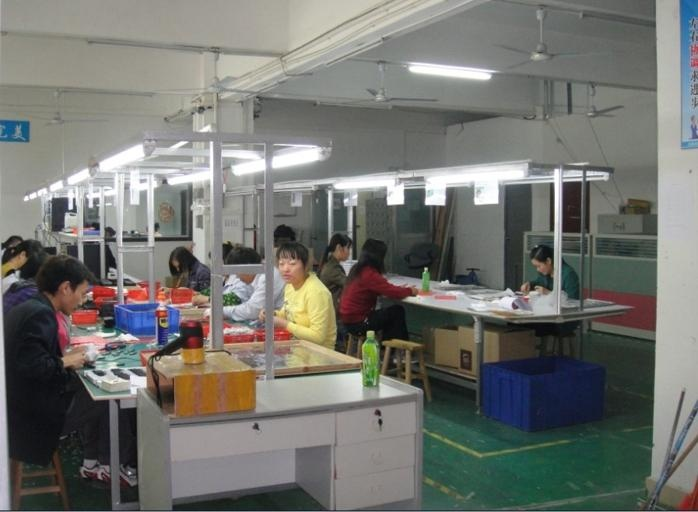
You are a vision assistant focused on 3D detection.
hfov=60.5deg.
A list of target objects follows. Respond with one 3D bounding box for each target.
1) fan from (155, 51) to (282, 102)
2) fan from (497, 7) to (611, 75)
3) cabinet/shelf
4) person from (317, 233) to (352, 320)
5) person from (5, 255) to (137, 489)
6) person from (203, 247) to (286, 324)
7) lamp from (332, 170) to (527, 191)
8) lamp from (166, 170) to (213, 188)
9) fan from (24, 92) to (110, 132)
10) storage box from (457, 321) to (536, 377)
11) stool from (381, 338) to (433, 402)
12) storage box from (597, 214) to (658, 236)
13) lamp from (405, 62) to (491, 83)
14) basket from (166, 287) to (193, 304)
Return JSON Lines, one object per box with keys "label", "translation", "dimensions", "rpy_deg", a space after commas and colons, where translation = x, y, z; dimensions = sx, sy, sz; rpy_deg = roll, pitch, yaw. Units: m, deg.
{"label": "fan", "translation": [-1.626, -2.190, 7.350], "dimensions": [0.840, 0.323, 0.879], "rpy_deg": [-8, 35, -33]}
{"label": "fan", "translation": [2.230, -2.353, 7.034], "dimensions": [1.134, 0.496, 1.162], "rpy_deg": [7, 10, 31]}
{"label": "cabinet/shelf", "translation": [-0.450, 1.228, 3.679], "dimensions": [1.569, 0.984, 1.015], "rpy_deg": [-2, 8, -20]}
{"label": "person", "translation": [-0.114, 0.362, 7.377], "dimensions": [0.591, 1.227, 0.478], "rpy_deg": [1, 20, -2]}
{"label": "person", "translation": [-1.894, 0.812, 4.043], "dimensions": [0.753, 1.586, 0.635], "rpy_deg": [-4, 9, -31]}
{"label": "person", "translation": [-0.976, 0.313, 5.743], "dimensions": [0.790, 0.793, 0.606], "rpy_deg": [-7, 12, -30]}
{"label": "lamp", "translation": [0.819, -0.804, 6.220], "dimensions": [0.457, 0.267, 2.852], "rpy_deg": [-4, 9, -31]}
{"label": "lamp", "translation": [-1.559, -0.751, 5.745], "dimensions": [0.280, 0.131, 1.588], "rpy_deg": [-2, 8, -19]}
{"label": "fan", "translation": [-4.782, -2.507, 10.179], "dimensions": [1.007, 0.304, 1.120], "rpy_deg": [5, 7, 41]}
{"label": "storage box", "translation": [1.489, 0.859, 5.940], "dimensions": [0.528, 0.411, 0.536], "rpy_deg": [-2, 2, -39]}
{"label": "stool", "translation": [0.548, 1.140, 5.931], "dimensions": [0.563, 0.592, 0.561], "rpy_deg": [2, -1, -10]}
{"label": "storage box", "translation": [3.940, -0.436, 8.506], "dimensions": [0.797, 0.314, 0.306], "rpy_deg": [6, 9, 32]}
{"label": "lamp", "translation": [1.189, -2.266, 7.404], "dimensions": [0.688, 0.078, 0.204], "rpy_deg": [2, 16, -33]}
{"label": "basket", "translation": [-1.747, 0.416, 6.245], "dimensions": [0.229, 0.167, 0.147], "rpy_deg": [1, 5, -14]}
